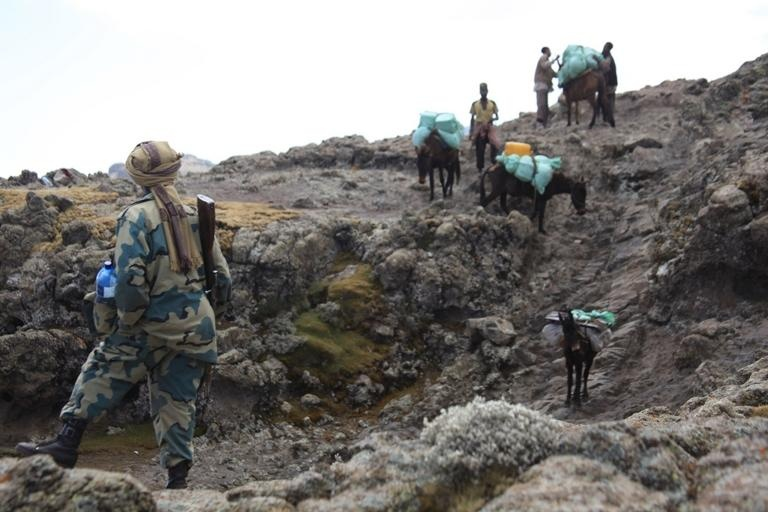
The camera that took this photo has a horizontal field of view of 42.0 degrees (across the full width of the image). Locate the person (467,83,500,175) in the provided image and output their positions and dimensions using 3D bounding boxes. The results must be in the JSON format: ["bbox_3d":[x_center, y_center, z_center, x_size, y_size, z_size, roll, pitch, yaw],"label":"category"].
[{"bbox_3d":[2.572,-3.192,25.458,0.807,2.244,0.643,0,9,15],"label":"person"}]

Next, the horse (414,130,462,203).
[{"bbox_3d":[1.358,-2.324,24.863,1.151,1.581,1.687,-1,14,6],"label":"horse"}]

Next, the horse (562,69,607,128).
[{"bbox_3d":[5.364,-4.004,25.576,0.783,1.457,0.884,-16,16,-39],"label":"horse"}]
